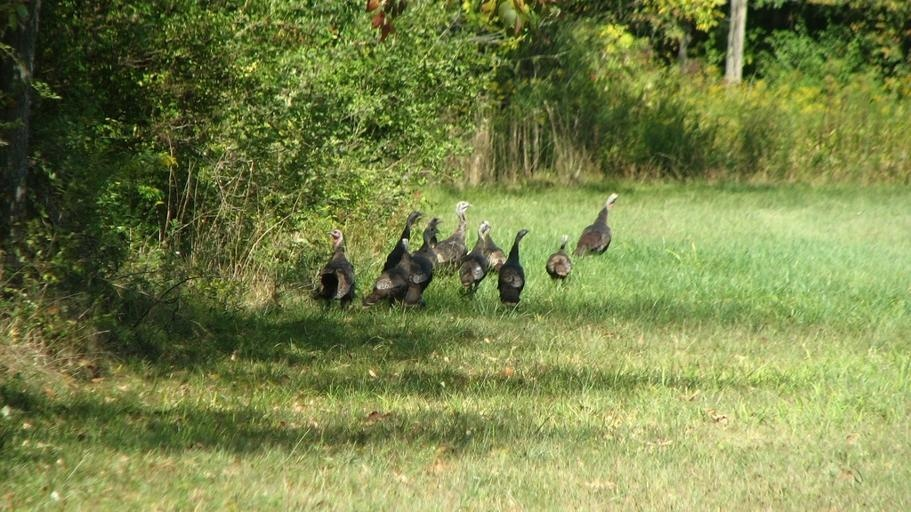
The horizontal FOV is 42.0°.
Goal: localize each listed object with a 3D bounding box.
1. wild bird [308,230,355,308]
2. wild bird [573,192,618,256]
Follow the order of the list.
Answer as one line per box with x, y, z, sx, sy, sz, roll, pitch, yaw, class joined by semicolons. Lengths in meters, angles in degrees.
-2.276;0.318;22.598;0.778;1.388;0.850;-3;14;-21;wild bird
3.134;-0.500;26.819;0.559;0.964;1.225;12;16;37;wild bird
